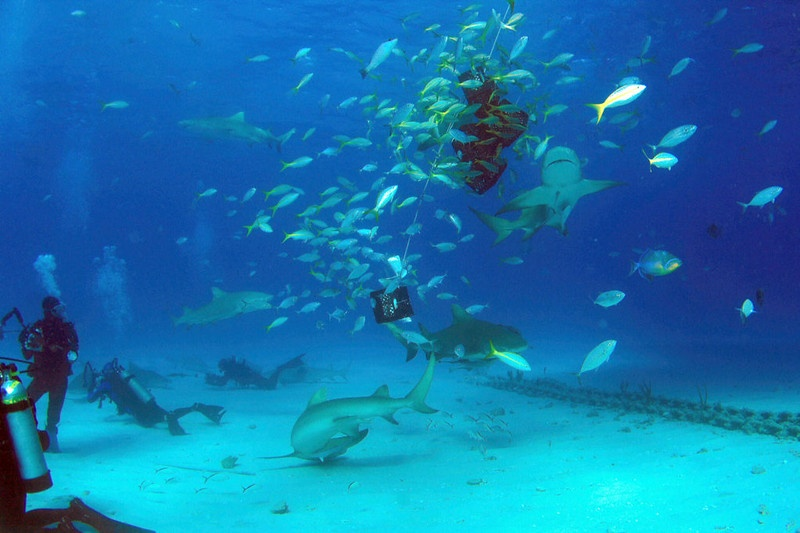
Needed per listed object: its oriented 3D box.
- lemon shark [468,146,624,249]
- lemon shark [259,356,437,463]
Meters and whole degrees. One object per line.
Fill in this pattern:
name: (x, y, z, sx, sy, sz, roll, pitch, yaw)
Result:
lemon shark: (6.069, -2.958, 25.961, 4.639, 3.879, 1.073, 0, -3, 4)
lemon shark: (-1.919, 6.332, 26.419, 7.169, 2.293, 3.884, -24, -3, 24)
